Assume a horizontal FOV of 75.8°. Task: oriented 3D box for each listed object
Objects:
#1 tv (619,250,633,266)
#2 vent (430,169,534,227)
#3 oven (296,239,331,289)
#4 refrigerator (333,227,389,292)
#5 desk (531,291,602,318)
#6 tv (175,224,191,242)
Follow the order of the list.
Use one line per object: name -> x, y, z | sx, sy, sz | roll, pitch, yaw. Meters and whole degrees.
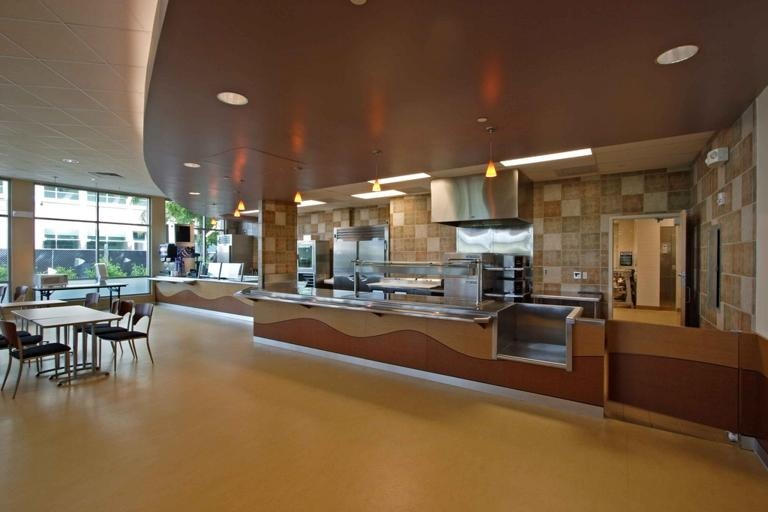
tv -> 5.832, 0.054, 11.821 | 0.242, 0.482, 0.330 | 3, -5, -35
vent -> 1.905, -0.981, 8.965 | 1.713, 0.828, 1.234 | -1, 1, 41
oven -> -1.684, 0.170, 12.024 | 0.749, 1.091, 0.446 | -1, 0, -17
refrigerator -> -0.429, 0.079, 10.295 | 1.325, 1.865, 0.650 | -2, -4, 37
desk -> 2.956, 0.820, 7.983 | 1.146, 0.427, 1.787 | -1, -1, 23
tv -> -4.944, -0.573, 12.106 | 0.057, 0.432, 0.382 | -5, -12, 40
